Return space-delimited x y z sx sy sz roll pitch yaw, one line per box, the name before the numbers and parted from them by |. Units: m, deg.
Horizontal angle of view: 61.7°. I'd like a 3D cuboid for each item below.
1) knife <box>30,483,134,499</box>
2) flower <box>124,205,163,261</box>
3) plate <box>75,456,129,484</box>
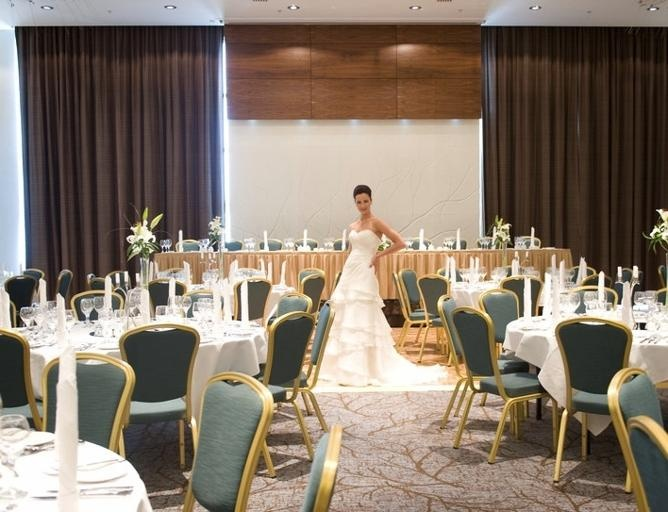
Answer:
knife | -0.897 0.842 2.008 0.343 0.027 0.077 -1 5 -11
flower | -1.737 -0.148 5.149 0.258 0.554 0.319 -1 -34 -2
plate | -0.887 0.818 2.142 0.171 0.025 0.165 -3 5 -28
